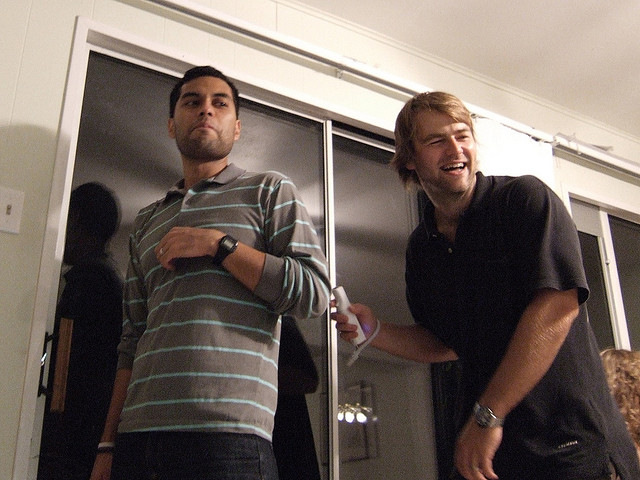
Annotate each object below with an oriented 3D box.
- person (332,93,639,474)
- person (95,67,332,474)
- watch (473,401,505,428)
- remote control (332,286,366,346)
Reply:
[{"bbox_3d":[0.582,0.094,1.840,0.874,1.409,0.463,-6,-13,40],"label":"person"},{"bbox_3d":[-0.363,0.040,1.719,0.713,1.488,0.506,-7,-13,43],"label":"person"},{"bbox_3d":[0.507,0.540,1.531,0.071,0.051,0.062,25,9,40],"label":"watch"},{"bbox_3d":[0.112,0.293,1.934,0.133,0.213,0.062,2,-10,1],"label":"remote control"}]
